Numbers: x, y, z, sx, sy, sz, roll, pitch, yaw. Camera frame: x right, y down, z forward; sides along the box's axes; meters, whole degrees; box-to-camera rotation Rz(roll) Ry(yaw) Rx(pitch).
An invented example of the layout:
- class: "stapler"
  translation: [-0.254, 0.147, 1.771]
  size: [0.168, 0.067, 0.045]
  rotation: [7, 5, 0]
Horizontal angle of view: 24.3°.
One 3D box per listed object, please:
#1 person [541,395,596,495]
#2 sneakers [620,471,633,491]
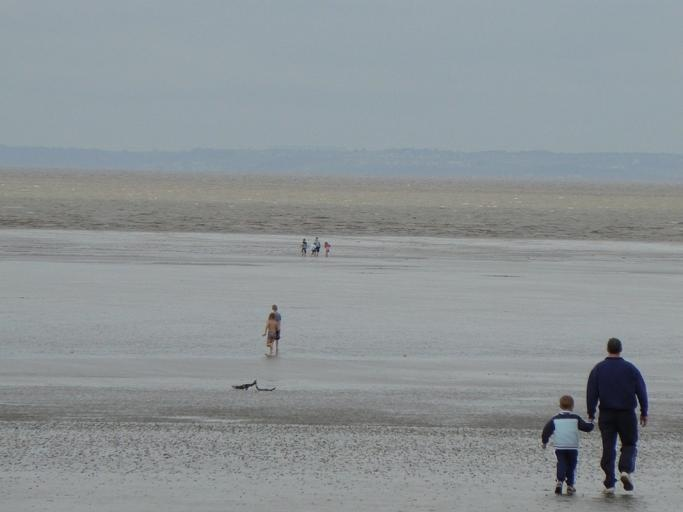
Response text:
- class: "person"
  translation: [6.285, 5.379, 44.675]
  size: [1.313, 2.793, 0.473]
  rotation: [1, -3, 5]
- class: "sneakers"
  translation: [7.969, 6.397, 44.542]
  size: [0.269, 0.625, 0.290]
  rotation: [-10, 35, 33]
